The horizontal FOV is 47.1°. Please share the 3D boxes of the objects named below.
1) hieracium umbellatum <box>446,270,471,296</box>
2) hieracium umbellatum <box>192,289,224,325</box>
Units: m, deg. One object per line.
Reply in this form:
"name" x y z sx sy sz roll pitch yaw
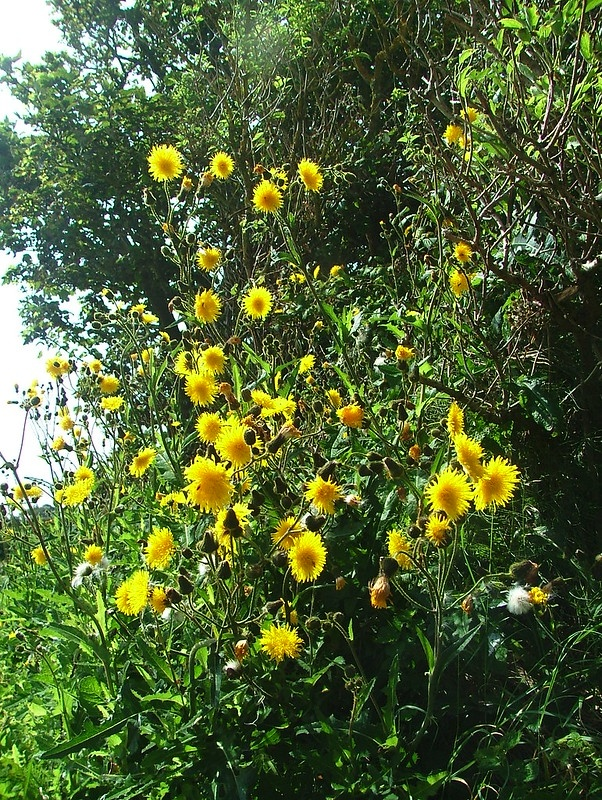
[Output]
"hieracium umbellatum" 0.435 -0.327 1.914 0.024 0.066 0.065 -28 -47 -30
"hieracium umbellatum" -0.257 -0.265 1.904 0.099 0.093 0.040 9 -14 -39
